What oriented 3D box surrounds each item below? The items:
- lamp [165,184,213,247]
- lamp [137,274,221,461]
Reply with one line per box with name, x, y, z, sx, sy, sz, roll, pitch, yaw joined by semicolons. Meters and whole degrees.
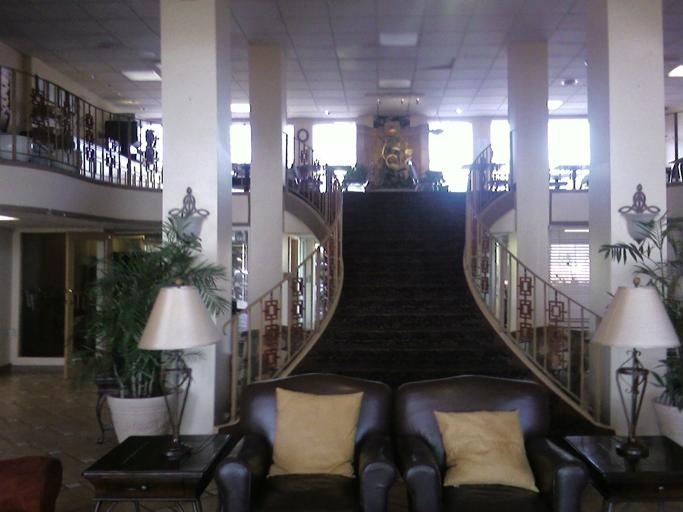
lamp;-1.673;-0.412;6.510;0.453;0.697;0.109;-2;23;-19
lamp;-1.451;1.027;5.129;0.709;1.515;0.719;0;1;-22
